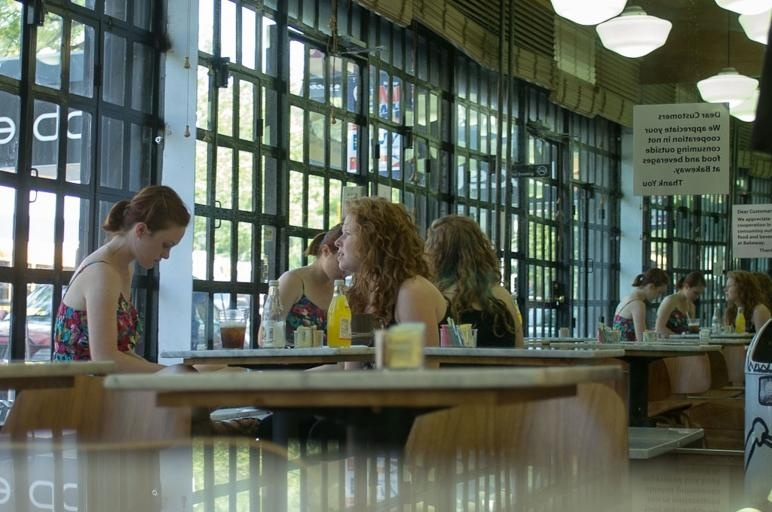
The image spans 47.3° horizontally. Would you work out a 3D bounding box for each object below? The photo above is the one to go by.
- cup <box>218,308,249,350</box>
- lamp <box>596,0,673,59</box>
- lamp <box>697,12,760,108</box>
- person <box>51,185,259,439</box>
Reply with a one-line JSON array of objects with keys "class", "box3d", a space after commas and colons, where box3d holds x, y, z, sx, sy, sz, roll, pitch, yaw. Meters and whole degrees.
[{"class": "cup", "box3d": [-0.801, 0.390, 4.628, 0.164, 0.205, 0.170, -1, -5, 0]}, {"class": "lamp", "box3d": [1.919, -1.722, 6.985, 0.406, 0.316, 0.433, -1, -3, -5]}, {"class": "lamp", "box3d": [2.764, -1.597, 7.177, 0.533, 0.803, 0.546, -4, 7, -42]}, {"class": "person", "box3d": [-1.263, 0.320, 4.652, 0.850, 1.378, 0.621, 6, 13, -13]}]
